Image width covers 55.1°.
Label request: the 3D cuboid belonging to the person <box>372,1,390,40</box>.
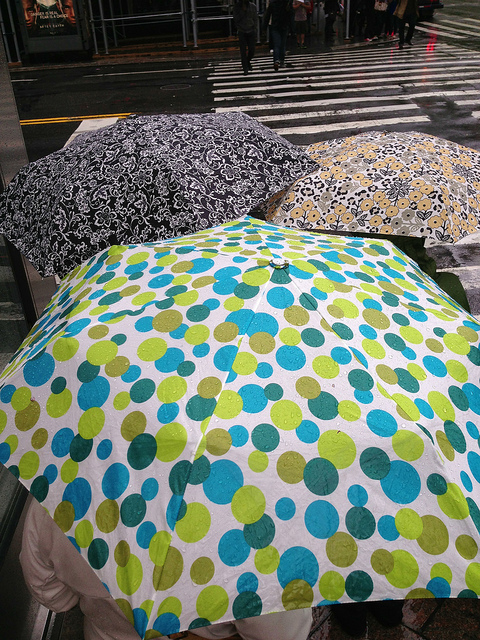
[{"bbox_3d":[6.515,-14.036,21.557,0.613,1.500,1.943,7,33,12],"label":"person"}]
